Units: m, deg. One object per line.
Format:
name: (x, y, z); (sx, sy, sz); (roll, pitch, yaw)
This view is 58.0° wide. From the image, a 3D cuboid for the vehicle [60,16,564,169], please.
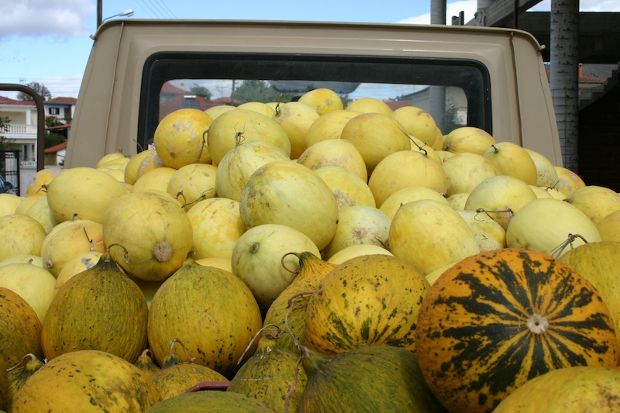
vehicle: (0.012, -1.357, 6.872); (3.117, 1.999, 3.258); (2, 5, -1)
